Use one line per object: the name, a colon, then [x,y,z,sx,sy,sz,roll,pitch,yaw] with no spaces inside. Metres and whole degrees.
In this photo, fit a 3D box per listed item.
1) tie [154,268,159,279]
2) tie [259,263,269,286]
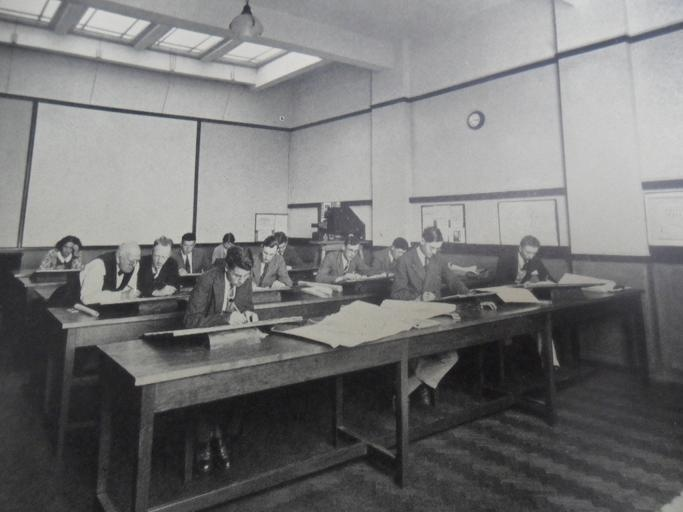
tie: [-0.761,0.072,2.159,0.027,0.031,0.008,4,15,11]
tie: [-0.355,0.092,2.376,0.023,0.114,0.029,4,15,-10]
